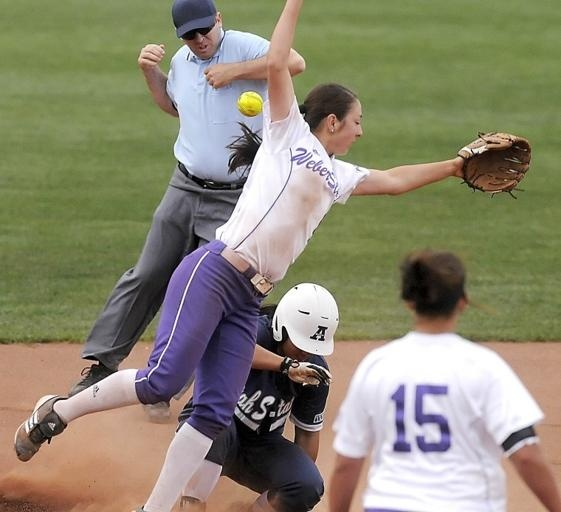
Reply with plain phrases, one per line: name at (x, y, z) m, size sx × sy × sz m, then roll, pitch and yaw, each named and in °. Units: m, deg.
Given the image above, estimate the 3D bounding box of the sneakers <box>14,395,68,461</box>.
sneakers at (-1.536, 1.061, 6.832) m, size 0.212 × 0.574 × 0.248 m, roll 34°, pitch 41°, yaw -22°

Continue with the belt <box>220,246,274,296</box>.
belt at (-0.185, 0.099, 6.317) m, size 0.299 × 0.086 × 0.210 m, roll 43°, pitch 2°, yaw -41°

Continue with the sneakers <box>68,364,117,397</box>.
sneakers at (-1.236, 0.823, 7.133) m, size 0.135 × 0.352 × 0.118 m, roll 60°, pitch -8°, yaw -12°

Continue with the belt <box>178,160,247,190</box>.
belt at (-0.458, -0.504, 7.264) m, size 0.271 × 0.086 × 0.251 m, roll 25°, pitch 11°, yaw 16°

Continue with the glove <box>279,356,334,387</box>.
glove at (0.163, 0.714, 6.639) m, size 0.270 × 0.090 × 0.149 m, roll 22°, pitch -17°, yaw 14°
